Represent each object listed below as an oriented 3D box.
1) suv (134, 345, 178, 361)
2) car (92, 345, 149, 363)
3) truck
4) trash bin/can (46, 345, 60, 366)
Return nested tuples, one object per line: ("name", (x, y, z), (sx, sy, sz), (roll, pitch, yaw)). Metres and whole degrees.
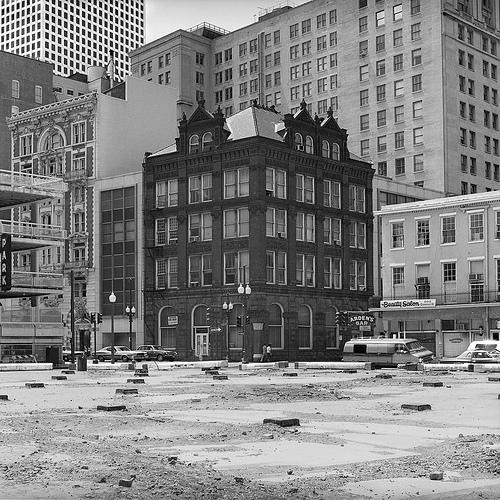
("suv", (-7.133, 8.004, 106.040), (2.860, 0.926, 1.230), (-3, -3, 28))
("car", (-9.758, 8.100, 105.945), (3.787, 1.539, 7.249), (1, -7, -14))
("truck", (8.786, 6.530, 86.977), (2.580, 1.969, 6.469), (3, -8, -32))
("trash bin/can", (-12.838, 6.987, 89.543), (0.531, 1.740, 0.954), (-8, -9, 36))
